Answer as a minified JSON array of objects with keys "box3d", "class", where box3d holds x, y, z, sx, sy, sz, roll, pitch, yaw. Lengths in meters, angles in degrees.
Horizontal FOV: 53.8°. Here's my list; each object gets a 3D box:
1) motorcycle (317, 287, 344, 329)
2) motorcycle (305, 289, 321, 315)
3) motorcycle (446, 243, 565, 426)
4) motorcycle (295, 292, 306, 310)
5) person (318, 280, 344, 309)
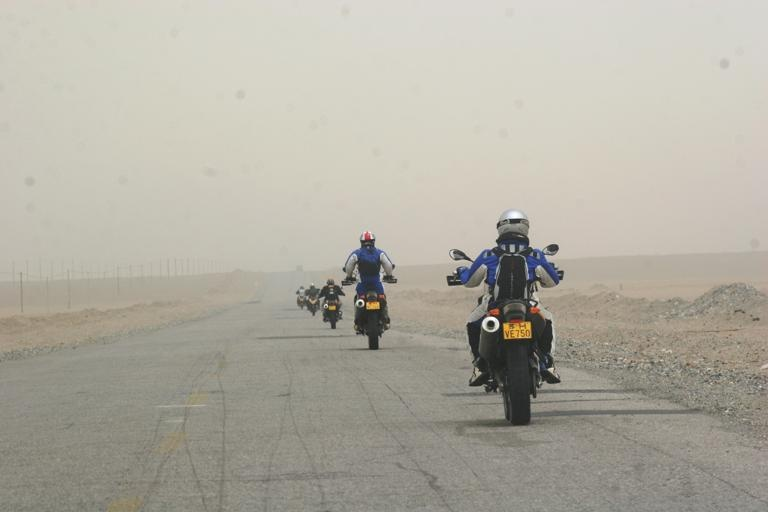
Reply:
[{"box3d":[-2.249,1.942,31.731,0.837,1.175,2.034,-1,10,-4],"class":"motorcycle"},{"box3d":[-4.246,2.722,44.761,1.169,1.459,2.530,0,13,-7],"class":"motorcycle"},{"box3d":[1.834,1.134,10.929,0.911,2.510,0.952,0,-1,9],"class":"motorcycle"},{"box3d":[-6.386,3.505,58.038,0.764,1.082,1.768,0,18,-6],"class":"motorcycle"},{"box3d":[-2.176,1.716,31.519,1.078,1.314,2.197,0,9,-3],"class":"person"}]
